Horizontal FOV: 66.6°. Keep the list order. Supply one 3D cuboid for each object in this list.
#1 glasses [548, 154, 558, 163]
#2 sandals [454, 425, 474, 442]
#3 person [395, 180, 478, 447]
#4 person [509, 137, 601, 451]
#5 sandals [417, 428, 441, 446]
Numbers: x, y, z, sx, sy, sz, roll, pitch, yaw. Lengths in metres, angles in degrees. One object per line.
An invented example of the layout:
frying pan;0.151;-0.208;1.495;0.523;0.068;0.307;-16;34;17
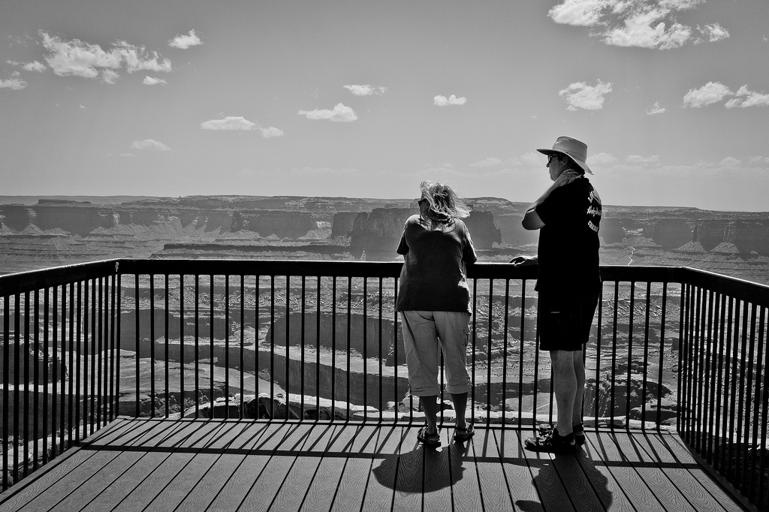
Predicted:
glasses;1.236;-0.722;4.325;0.047;0.043;0.053;-3;-6;31
sandals;0.595;1.321;4.366;0.091;0.066;0.148;3;-9;-30
person;0.381;0.431;4.328;0.562;1.895;0.453;1;-11;2
person;1.297;0.265;4.230;0.531;2.251;0.633;-2;-11;20
sandals;0.326;1.322;4.321;0.087;0.077;0.179;4;3;-15
